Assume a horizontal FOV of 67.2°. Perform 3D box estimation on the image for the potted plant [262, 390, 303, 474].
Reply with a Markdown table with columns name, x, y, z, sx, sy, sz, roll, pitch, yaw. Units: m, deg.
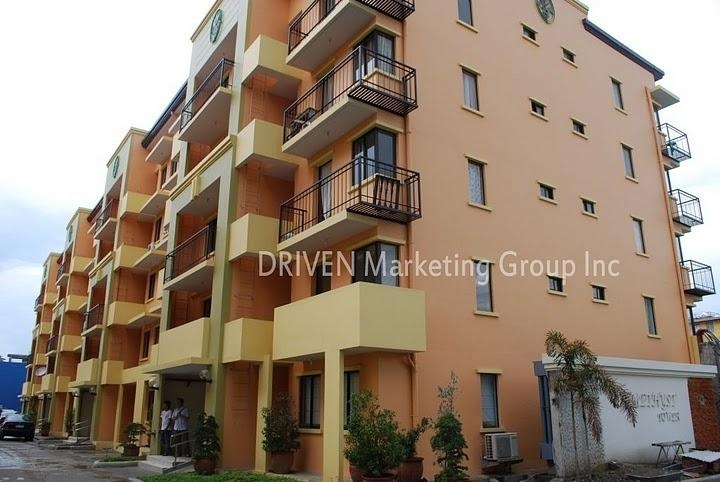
| name | x | y | z | sx | sy | sz | roll | pitch | yaw |
| --- | --- | --- | --- | --- | --- | --- | --- | --- | --- |
| potted plant | -3.028 | 7.279 | 20.537 | 1.464 | 2.788 | 0.863 | 3 | -22 | -10 |

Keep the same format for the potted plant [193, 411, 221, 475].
| name | x | y | z | sx | sy | sz | roll | pitch | yaw |
| --- | --- | --- | --- | --- | --- | --- | --- | --- | --- |
| potted plant | -5.914 | 7.808 | 20.996 | 1.008 | 2.270 | 0.641 | 7 | -23 | -18 |

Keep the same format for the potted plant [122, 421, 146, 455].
| name | x | y | z | sx | sy | sz | roll | pitch | yaw |
| --- | --- | --- | --- | --- | --- | --- | --- | --- | --- |
| potted plant | -11.475 | 10.094 | 27.390 | 0.969 | 1.551 | 2.691 | 8 | -25 | -21 |

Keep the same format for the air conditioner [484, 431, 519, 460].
| name | x | y | z | sx | sy | sz | roll | pitch | yaw |
| --- | --- | --- | --- | --- | --- | --- | --- | --- | --- |
| air conditioner | 5.087 | 7.520 | 19.899 | 1.411 | 1.064 | 0.902 | 10 | -22 | -28 |
